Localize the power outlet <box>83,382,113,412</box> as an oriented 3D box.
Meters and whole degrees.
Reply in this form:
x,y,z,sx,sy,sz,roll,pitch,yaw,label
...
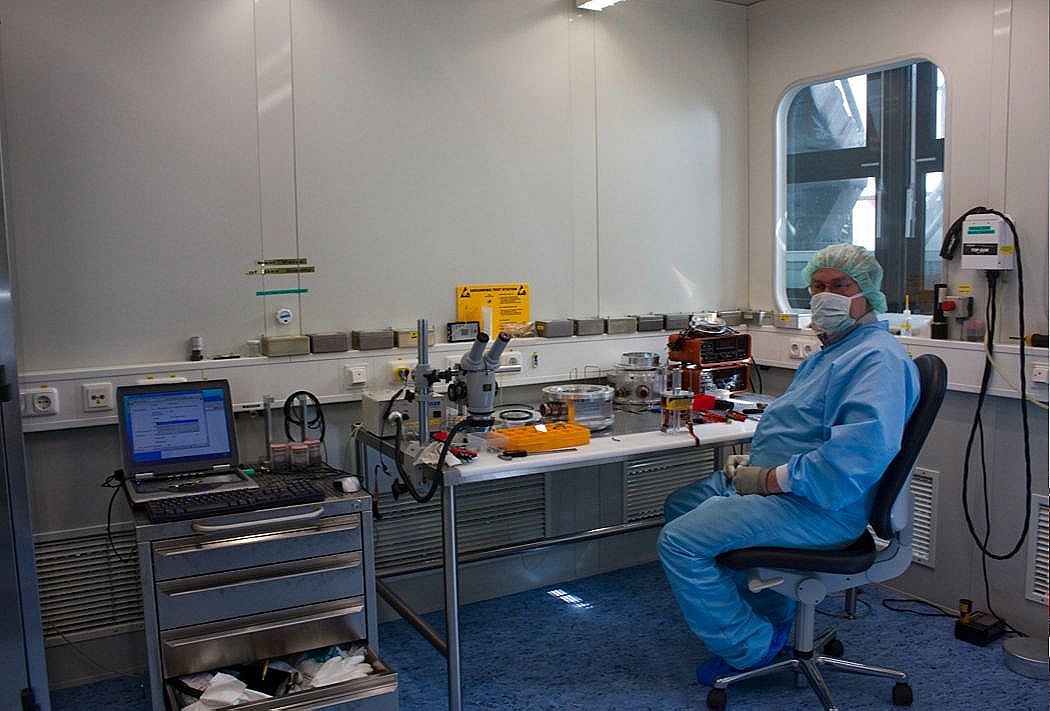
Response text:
x,y,z,sx,sy,sz,roll,pitch,yaw,label
-1.883,0.173,3.237,0.126,0.137,0.015,-3,6,-34,power outlet

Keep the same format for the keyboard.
x,y,z,sx,sy,sz,roll,pitch,yaw,label
-1.181,0.580,2.957,0.655,0.058,0.250,-5,5,-19,keyboard

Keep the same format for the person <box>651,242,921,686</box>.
x,y,z,sx,sy,sz,roll,pitch,yaw,label
1.238,0.417,3.347,1.032,1.945,0.851,2,3,31,person

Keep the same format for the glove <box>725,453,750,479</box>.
x,y,z,sx,sy,sz,roll,pitch,yaw,label
0.946,0.479,3.306,0.081,0.045,0.110,-5,24,47,glove

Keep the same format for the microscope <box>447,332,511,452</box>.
x,y,z,sx,sy,sz,roll,pitch,yaw,label
-0.219,0.135,3.228,0.210,0.494,0.322,-3,7,-34,microscope

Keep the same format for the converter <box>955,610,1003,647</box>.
x,y,z,sx,sy,sz,roll,pitch,yaw,label
2.192,1.263,3.568,0.130,0.093,0.192,7,11,41,converter

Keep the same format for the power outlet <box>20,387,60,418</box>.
x,y,z,sx,sy,sz,roll,pitch,yaw,label
-2.085,0.191,3.156,0.130,0.113,0.042,-1,4,-32,power outlet

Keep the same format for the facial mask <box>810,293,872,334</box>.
x,y,z,sx,sy,sz,roll,pitch,yaw,label
1.366,-0.192,3.267,0.191,0.124,0.161,-9,7,-42,facial mask

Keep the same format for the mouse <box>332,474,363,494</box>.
x,y,z,sx,sy,sz,roll,pitch,yaw,label
-0.746,0.526,3.086,0.114,0.059,0.148,-5,15,-16,mouse
